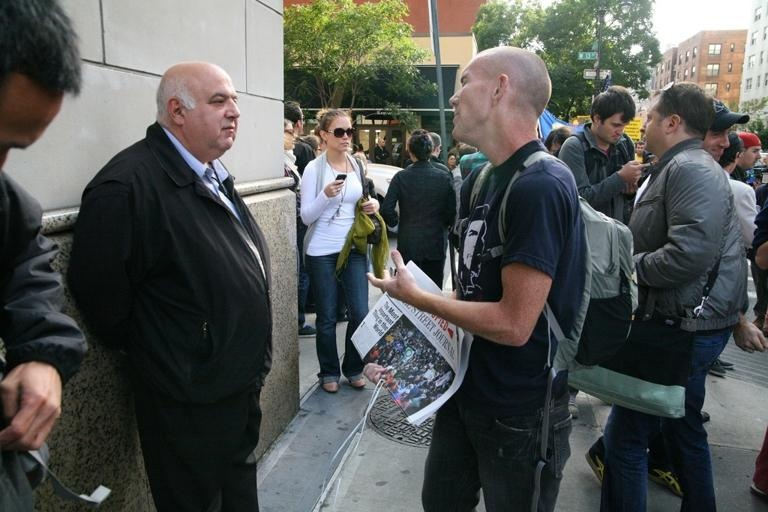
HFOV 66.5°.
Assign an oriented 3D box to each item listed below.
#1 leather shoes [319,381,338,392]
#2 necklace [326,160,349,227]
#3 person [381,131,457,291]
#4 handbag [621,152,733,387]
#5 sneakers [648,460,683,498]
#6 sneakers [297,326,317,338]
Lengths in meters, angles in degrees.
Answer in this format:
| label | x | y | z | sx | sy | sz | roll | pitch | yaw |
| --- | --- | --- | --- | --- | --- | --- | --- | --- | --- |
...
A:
| label | x | y | z | sx | sy | sz | roll | pitch | yaw |
| --- | --- | --- | --- | --- | --- | --- | --- | --- | --- |
| leather shoes | -0.521 | 1.179 | 5.353 | 0.203 | 0.076 | 0.114 | 6 | 17 | 18 |
| necklace | -0.412 | -0.523 | 5.193 | 0.159 | 0.466 | 0.427 | -1 | 16 | -4 |
| person | 0.393 | -0.250 | 7.034 | 0.889 | 2.566 | 0.712 | -8 | 29 | -12 |
| handbag | 1.907 | -0.149 | 3.844 | 0.804 | 1.212 | 0.970 | 3 | 12 | 29 |
| sneakers | 2.061 | 1.635 | 4.323 | 0.101 | 0.128 | 0.292 | 20 | 9 | -40 |
| sneakers | -0.891 | 0.875 | 6.775 | 0.253 | 0.114 | 0.109 | -3 | 8 | -2 |
